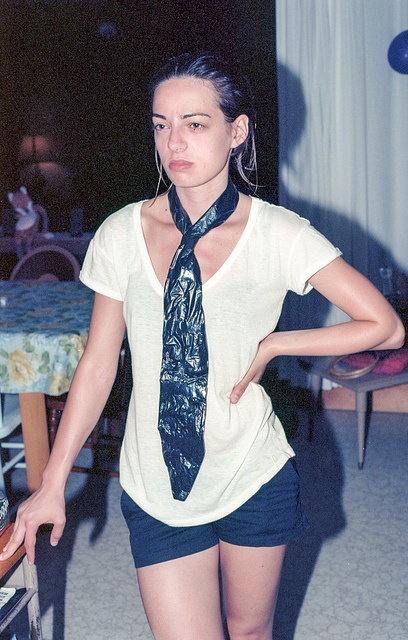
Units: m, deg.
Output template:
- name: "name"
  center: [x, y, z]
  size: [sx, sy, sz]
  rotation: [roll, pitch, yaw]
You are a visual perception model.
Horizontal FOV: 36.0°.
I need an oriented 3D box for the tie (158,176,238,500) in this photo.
- name: "tie"
  center: [-0.008, 0.051, 0.966]
  size: [0.135, 0.508, 0.027]
  rotation: [2, 2, 1]
